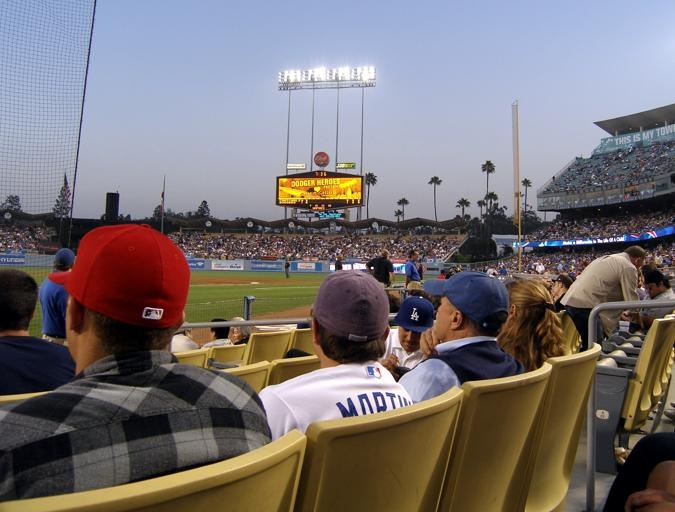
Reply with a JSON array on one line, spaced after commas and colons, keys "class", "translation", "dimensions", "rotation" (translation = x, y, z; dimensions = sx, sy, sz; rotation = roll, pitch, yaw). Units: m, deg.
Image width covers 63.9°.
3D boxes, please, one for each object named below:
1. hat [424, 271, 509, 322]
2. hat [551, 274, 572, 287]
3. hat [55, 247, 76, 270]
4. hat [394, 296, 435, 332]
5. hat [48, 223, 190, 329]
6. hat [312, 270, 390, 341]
[{"class": "hat", "translation": [0.742, 0.201, 3.122], "dimensions": [0.387, 0.192, 0.248], "rotation": [19, 9, 37]}, {"class": "hat", "translation": [3.096, 0.344, 7.422], "dimensions": [0.198, 0.094, 0.266], "rotation": [14, 6, -1]}, {"class": "hat", "translation": [-3.049, 0.026, 6.055], "dimensions": [0.195, 0.134, 0.307], "rotation": [23, 19, 5]}, {"class": "hat", "translation": [0.619, 0.425, 4.232], "dimensions": [0.309, 0.200, 0.382], "rotation": [12, 23, 7]}, {"class": "hat", "translation": [-0.656, 0.060, 2.144], "dimensions": [0.658, 0.328, 0.463], "rotation": [13, 0, -2]}, {"class": "hat", "translation": [0.066, 0.221, 2.345], "dimensions": [0.255, 0.167, 0.330], "rotation": [6, 23, -7]}]
